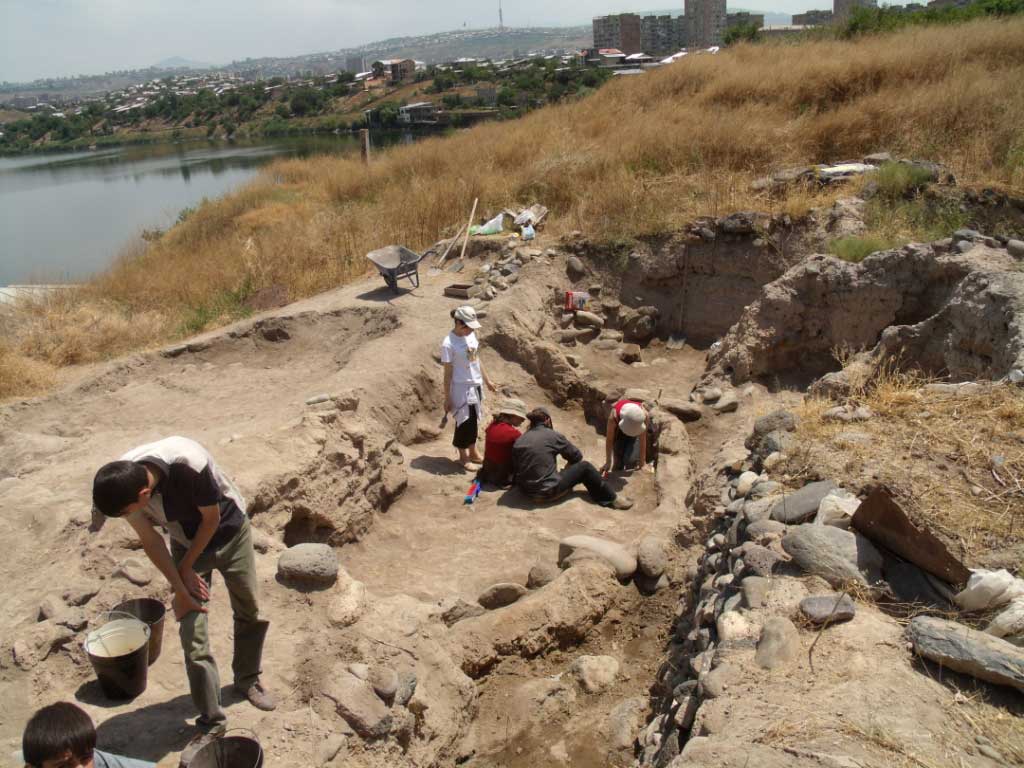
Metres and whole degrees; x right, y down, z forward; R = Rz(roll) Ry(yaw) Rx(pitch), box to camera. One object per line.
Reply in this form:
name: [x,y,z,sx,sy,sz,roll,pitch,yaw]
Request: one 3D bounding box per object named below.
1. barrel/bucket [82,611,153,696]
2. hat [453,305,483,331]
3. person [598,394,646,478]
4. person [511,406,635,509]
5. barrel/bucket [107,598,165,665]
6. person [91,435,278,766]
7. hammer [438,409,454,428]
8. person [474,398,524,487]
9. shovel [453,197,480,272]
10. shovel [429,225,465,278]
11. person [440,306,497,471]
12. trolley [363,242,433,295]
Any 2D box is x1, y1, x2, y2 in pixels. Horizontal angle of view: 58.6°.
barrel/bucket: [-3.216,2.201,7.468,0.490,0.649,0.509,-1,13,0]
hat: [-0.534,-0.769,10.946,0.238,0.372,0.441,-2,25,5]
person: [1.432,0.691,11.453,0.520,1.325,0.510,-5,49,-1]
person: [0.760,1.047,10.822,1.239,1.094,0.964,-18,18,-35]
barrel/bucket: [-3.160,2.031,7.762,0.463,0.527,0.486,1,14,0]
person: [-2.447,1.601,7.129,0.972,2.323,0.793,-16,27,-25]
hammer: [-0.887,0.451,12.094,0.048,0.253,0.036,23,5,-6]
person: [-0.158,0.757,11.150,0.511,1.107,0.656,21,25,19]
shovel: [-0.797,-2.713,16.422,0.189,0.200,1.850,-1,43,18]
shovel: [-1.214,-2.374,16.208,0.449,0.474,1.209,3,26,16]
person: [-0.573,-0.070,11.458,0.614,2.063,1.080,-5,24,-2]
trolley: [-1.988,-1.853,14.930,0.760,0.622,0.890,-24,40,-31]
